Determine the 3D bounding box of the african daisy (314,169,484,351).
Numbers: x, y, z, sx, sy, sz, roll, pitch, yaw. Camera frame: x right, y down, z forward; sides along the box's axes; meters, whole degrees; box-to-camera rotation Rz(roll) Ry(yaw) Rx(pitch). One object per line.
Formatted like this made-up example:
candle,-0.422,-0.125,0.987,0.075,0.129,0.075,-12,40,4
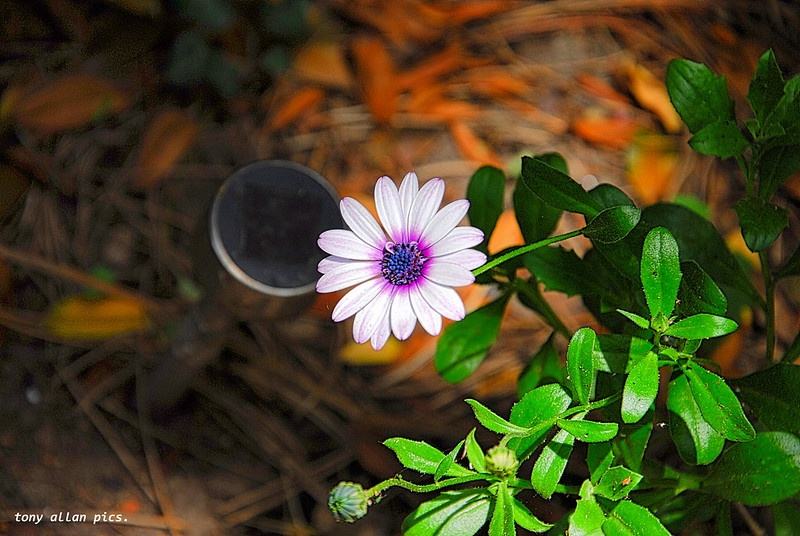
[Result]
african daisy,-0.005,-0.046,1.973,0.454,0.124,0.534,-8,33,6
